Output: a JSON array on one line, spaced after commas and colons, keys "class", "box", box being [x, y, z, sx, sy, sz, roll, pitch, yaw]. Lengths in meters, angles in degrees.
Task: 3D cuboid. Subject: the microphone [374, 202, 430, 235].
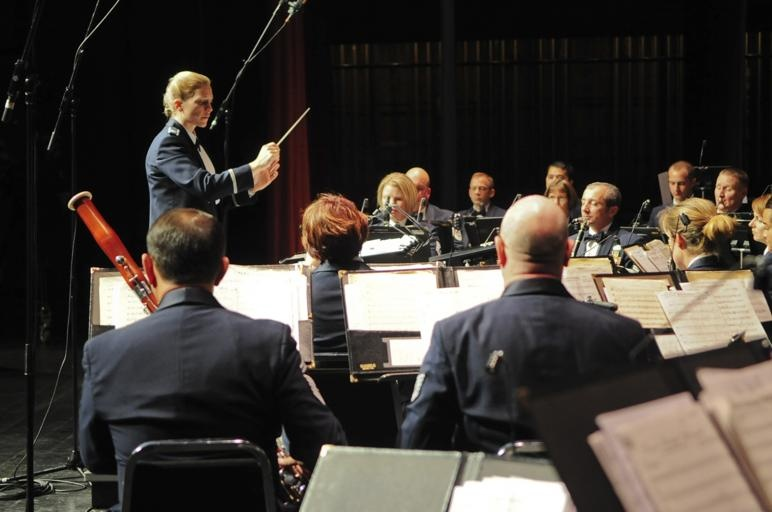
[{"class": "microphone", "box": [0.126, -0.282, 6.157, 0.405, 0.098, 0.287, 23, -6, -16]}]

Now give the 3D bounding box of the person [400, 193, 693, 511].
[{"class": "person", "box": [0.684, 0.396, 3.182, 1.089, 1.986, 0.763, -4, 34, 8]}]

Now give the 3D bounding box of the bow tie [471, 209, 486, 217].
[{"class": "bow tie", "box": [0.957, -0.444, 7.665, 0.124, 0.063, 0.174, -2, -7, 16]}]
